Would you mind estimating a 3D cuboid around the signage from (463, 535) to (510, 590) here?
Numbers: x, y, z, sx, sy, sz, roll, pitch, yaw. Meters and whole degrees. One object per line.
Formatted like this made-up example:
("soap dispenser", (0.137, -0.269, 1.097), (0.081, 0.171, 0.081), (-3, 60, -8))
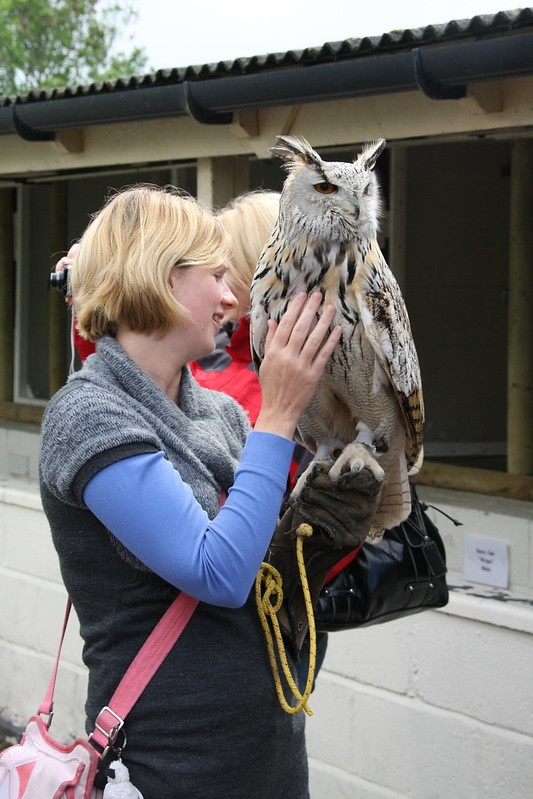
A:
("signage", (0.834, 0.611, 3.359), (0.021, 0.152, 0.181), (3, -6, -30))
